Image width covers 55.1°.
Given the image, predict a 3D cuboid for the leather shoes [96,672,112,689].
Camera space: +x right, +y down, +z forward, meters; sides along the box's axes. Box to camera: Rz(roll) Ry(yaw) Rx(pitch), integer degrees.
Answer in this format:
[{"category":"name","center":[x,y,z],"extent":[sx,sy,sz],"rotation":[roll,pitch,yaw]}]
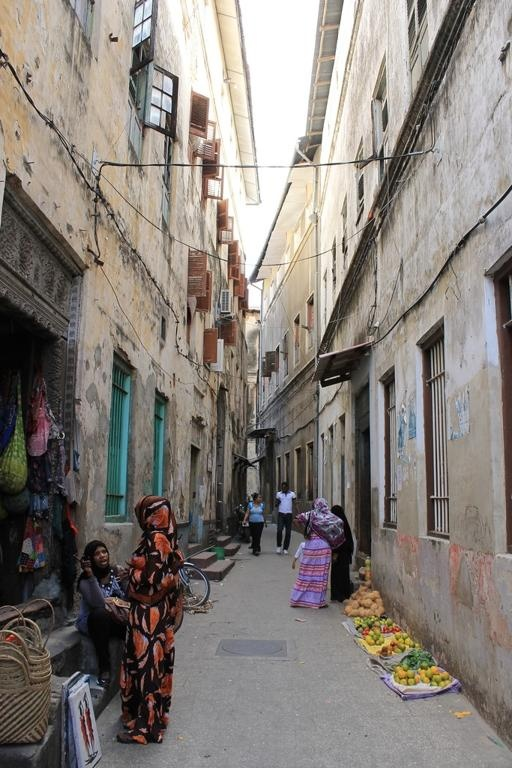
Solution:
[{"category":"leather shoes","center":[-1.011,1.942,3.226],"extent":[0.035,0.089,0.148],"rotation":[3,-8,-2]}]

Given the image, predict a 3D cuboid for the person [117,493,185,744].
[{"category":"person","center":[-0.625,1.359,2.956],"extent":[0.350,1.338,0.491],"rotation":[3,-10,-17]}]

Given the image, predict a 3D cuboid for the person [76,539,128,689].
[{"category":"person","center":[-1.068,1.567,3.441],"extent":[0.286,0.972,0.341],"rotation":[-14,-15,10]}]

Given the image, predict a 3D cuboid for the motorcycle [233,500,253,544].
[{"category":"motorcycle","center":[-0.540,5.613,19.645],"extent":[0.538,1.606,1.776],"rotation":[2,1,1]}]

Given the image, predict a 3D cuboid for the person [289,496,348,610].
[{"category":"person","center":[0.949,2.623,7.687],"extent":[0.799,1.628,0.447],"rotation":[-3,-10,16]}]

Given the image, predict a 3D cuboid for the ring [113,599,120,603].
[{"category":"ring","center":[-1.022,1.581,3.586],"extent":[0.024,0.014,0.031],"rotation":[18,-2,-4]}]

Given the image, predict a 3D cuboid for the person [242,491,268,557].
[{"category":"person","center":[-0.161,4.256,15.357],"extent":[0.541,1.521,1.640],"rotation":[4,-2,-17]}]

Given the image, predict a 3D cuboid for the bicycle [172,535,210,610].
[{"category":"bicycle","center":[-0.936,3.060,7.449],"extent":[0.453,0.159,0.657],"rotation":[8,29,-26]}]
